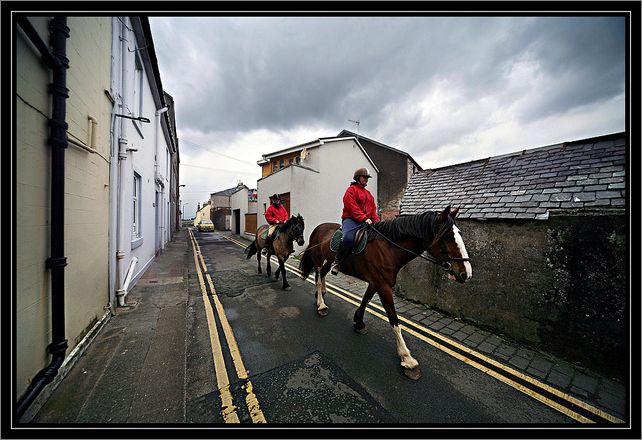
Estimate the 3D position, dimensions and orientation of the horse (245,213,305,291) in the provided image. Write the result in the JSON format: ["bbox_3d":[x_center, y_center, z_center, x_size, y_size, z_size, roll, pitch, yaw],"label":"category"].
[{"bbox_3d":[-1.287,0.705,9.304,0.572,1.751,2.949,2,2,-36],"label":"horse"}]
